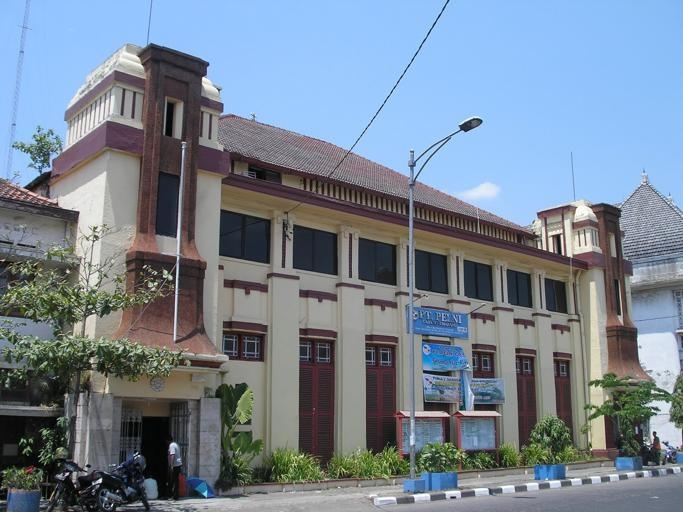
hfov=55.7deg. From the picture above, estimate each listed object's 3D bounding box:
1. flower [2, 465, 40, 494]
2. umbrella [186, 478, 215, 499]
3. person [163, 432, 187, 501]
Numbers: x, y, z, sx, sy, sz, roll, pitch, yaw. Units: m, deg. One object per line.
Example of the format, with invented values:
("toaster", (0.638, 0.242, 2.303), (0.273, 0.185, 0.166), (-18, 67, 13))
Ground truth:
("flower", (-8.582, 5.962, 17.327), (0.935, 0.634, 0.950), (6, -8, -15))
("umbrella", (-4.413, 7.257, 20.276), (0.837, 0.619, 0.498), (2, -17, -11))
("person", (-5.169, 6.556, 20.046), (0.498, 1.859, 1.211), (3, -17, -13))
